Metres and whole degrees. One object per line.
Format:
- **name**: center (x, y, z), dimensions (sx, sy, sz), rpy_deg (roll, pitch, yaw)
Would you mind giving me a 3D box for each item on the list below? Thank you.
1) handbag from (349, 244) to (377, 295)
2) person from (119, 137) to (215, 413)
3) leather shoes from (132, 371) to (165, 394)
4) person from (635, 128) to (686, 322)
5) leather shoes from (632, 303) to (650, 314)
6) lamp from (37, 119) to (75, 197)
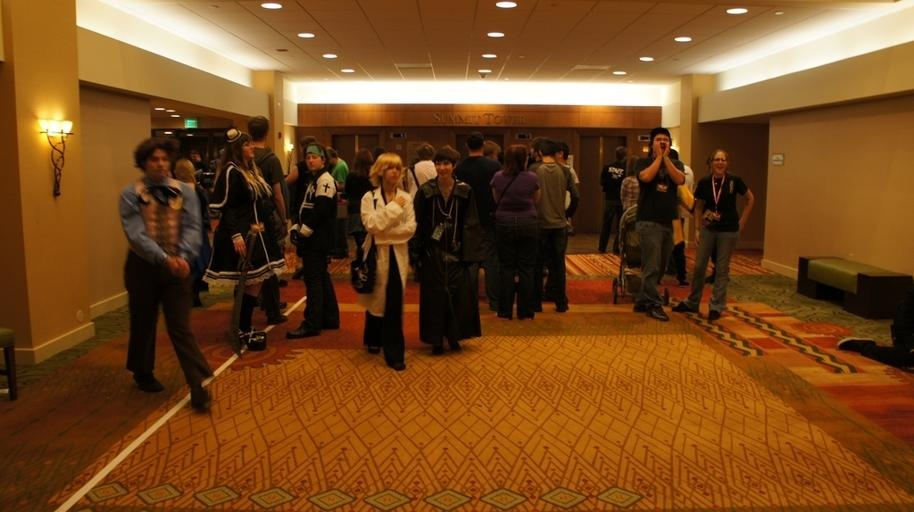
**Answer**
- **handbag**: center (-1.128, 0.148, 6.798), dimensions (0.337, 0.623, 0.224), rpy_deg (3, 13, 13)
- **person**: center (-3.120, 0.170, 6.151), dimensions (1.134, 2.838, 0.589), rpy_deg (5, 14, 21)
- **leather shoes**: center (-3.498, 1.442, 6.390), dimensions (0.449, 0.172, 0.169), rpy_deg (6, 8, 30)
- **person**: center (2.980, -0.475, 8.428), dimensions (0.637, 2.794, 0.745), rpy_deg (7, 15, 27)
- **leather shoes**: center (2.853, 0.802, 8.710), dimensions (0.166, 0.185, 0.445), rpy_deg (0, -2, 6)
- **lamp**: center (-5.120, -1.277, 7.337), dimensions (0.117, 0.983, 0.403), rpy_deg (7, 15, 28)
